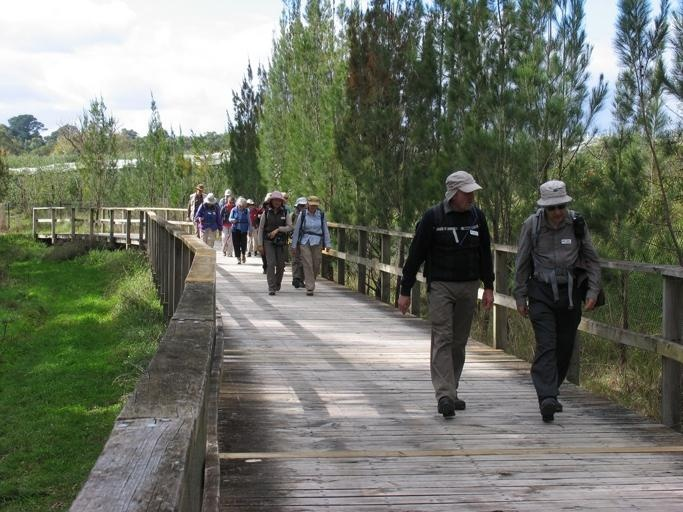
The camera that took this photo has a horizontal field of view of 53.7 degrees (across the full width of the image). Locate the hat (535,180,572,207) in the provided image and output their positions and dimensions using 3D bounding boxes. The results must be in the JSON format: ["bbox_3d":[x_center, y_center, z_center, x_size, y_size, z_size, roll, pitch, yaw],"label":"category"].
[{"bbox_3d":[1.759,-0.517,5.621,0.205,0.142,0.228,-9,8,12],"label":"hat"}]

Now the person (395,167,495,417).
[{"bbox_3d":[0.937,0.324,5.889,0.856,2.098,0.563,-2,6,-5],"label":"person"}]

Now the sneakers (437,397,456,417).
[{"bbox_3d":[0.885,1.293,5.748,0.077,0.106,0.233,-1,-32,1],"label":"sneakers"}]

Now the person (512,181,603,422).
[{"bbox_3d":[1.814,0.387,5.685,0.708,2.026,0.420,0,6,16],"label":"person"}]

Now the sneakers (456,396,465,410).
[{"bbox_3d":[1.042,1.307,6.001,0.050,0.132,0.164,2,7,15],"label":"sneakers"}]

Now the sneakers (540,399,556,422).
[{"bbox_3d":[1.714,1.290,5.620,0.078,0.118,0.259,1,-33,2],"label":"sneakers"}]

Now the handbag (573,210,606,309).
[{"bbox_3d":[2.140,0.034,5.842,0.390,0.714,0.200,5,4,34],"label":"handbag"}]

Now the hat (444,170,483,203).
[{"bbox_3d":[1.022,-0.602,5.794,0.266,0.246,0.448,-1,7,9],"label":"hat"}]
